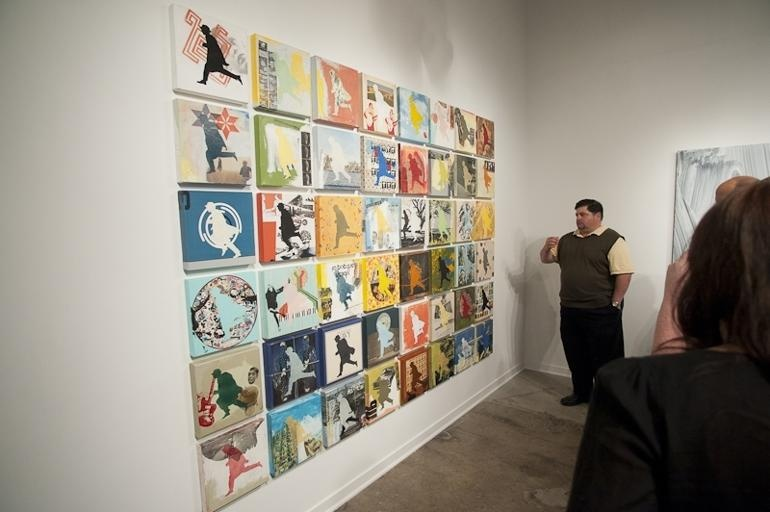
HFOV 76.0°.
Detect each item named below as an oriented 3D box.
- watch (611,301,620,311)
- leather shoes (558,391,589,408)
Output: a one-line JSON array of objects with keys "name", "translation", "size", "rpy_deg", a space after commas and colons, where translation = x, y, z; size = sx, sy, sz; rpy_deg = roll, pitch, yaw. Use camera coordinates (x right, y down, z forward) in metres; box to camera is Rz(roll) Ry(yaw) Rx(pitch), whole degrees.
[{"name": "watch", "translation": [1.870, 0.407, 3.961], "size": [0.067, 0.054, 0.036], "rpy_deg": [-20, -2, 44]}, {"name": "leather shoes", "translation": [1.579, 1.210, 4.160], "size": [0.269, 0.118, 0.094], "rpy_deg": [5, 10, 0]}]
